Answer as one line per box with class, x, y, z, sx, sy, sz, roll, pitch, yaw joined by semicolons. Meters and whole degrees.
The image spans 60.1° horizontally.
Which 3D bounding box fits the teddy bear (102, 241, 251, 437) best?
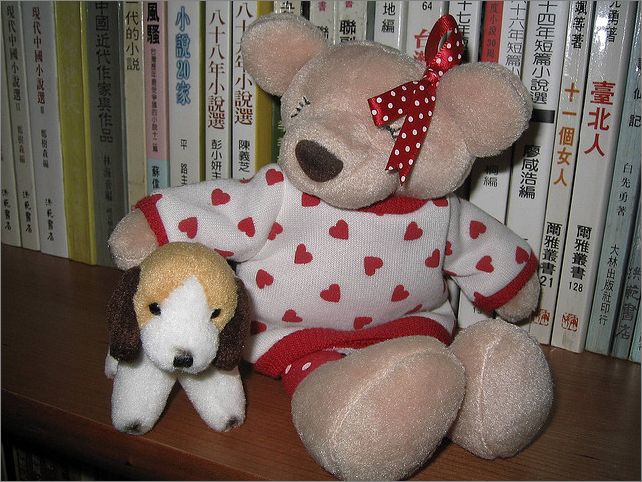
teddy bear;-0.160;0.089;0.641;0.159;0.221;0.215;5;29;-12
